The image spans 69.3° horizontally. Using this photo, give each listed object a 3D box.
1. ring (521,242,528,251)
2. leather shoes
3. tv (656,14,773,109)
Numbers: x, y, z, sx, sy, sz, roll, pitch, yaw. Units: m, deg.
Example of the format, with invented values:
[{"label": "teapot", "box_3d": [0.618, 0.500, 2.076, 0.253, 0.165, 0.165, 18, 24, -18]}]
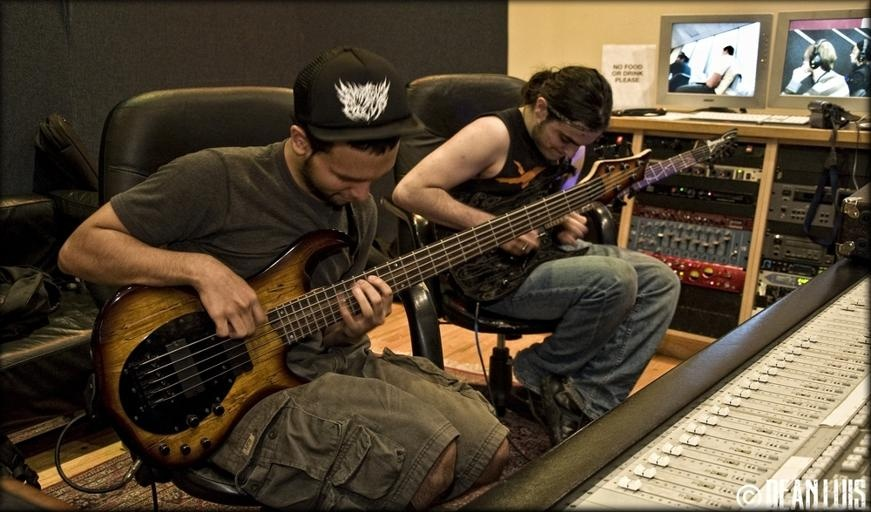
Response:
[{"label": "ring", "box_3d": [0.371, -0.036, 2.624, 0.023, 0.030, 0.008, -2, -24, -32]}, {"label": "leather shoes", "box_3d": [0.487, 0.657, 2.786, 0.266, 0.142, 0.338, -40, 66, -15]}, {"label": "tv", "box_3d": [1.642, -1.135, 3.648, 0.625, 0.504, 0.045, 6, 17, 19]}]
